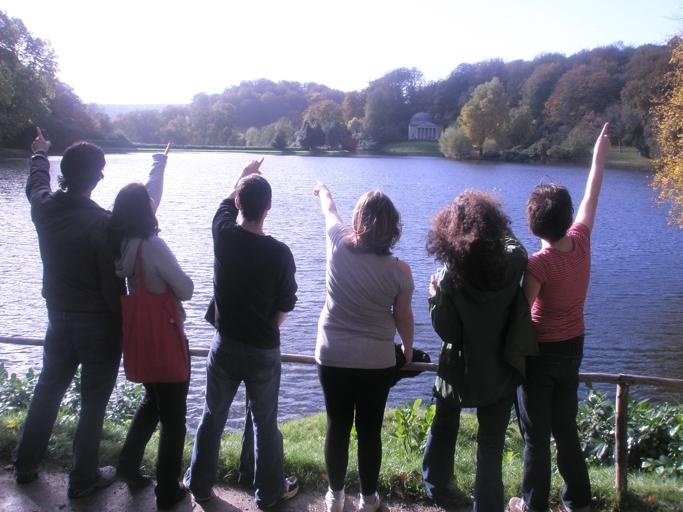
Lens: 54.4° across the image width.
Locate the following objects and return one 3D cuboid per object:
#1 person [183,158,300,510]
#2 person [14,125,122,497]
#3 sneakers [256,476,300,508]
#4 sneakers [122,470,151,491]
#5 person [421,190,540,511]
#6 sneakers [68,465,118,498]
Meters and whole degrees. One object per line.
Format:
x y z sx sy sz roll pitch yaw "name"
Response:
-0.826 0.784 5.947 0.869 2.924 0.487 4 -1 -12 "person"
-2.493 0.576 6.101 1.001 3.473 0.370 4 -1 9 "person"
-0.584 2.184 6.148 0.157 0.199 0.447 7 13 24 "sneakers"
-1.913 2.091 6.220 0.311 0.224 0.116 -1 7 -21 "sneakers"
1.156 0.870 5.831 0.965 2.322 0.699 4 -1 6 "person"
-2.267 2.097 6.099 0.160 0.198 0.444 14 23 40 "sneakers"
